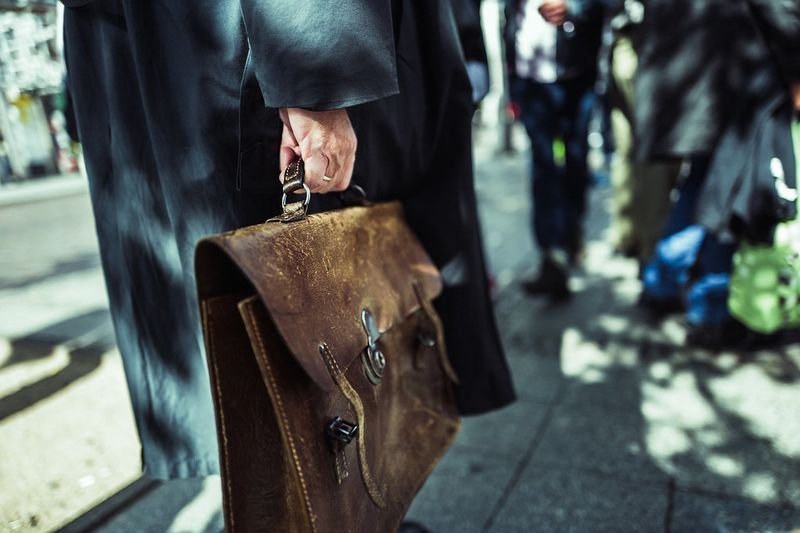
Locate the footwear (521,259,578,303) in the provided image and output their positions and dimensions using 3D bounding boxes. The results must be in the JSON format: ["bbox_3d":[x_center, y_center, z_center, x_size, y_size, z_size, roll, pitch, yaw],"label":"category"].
[{"bbox_3d":[0.899,0.073,4.343,0.275,0.039,0.616,-4,23,13],"label":"footwear"}]

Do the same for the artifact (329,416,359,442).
[{"bbox_3d":[-0.186,0.535,2.290,0.094,0.071,0.064,-1,22,19],"label":"artifact"}]

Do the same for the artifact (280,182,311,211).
[{"bbox_3d":[-0.348,-0.249,2.387,0.082,0.137,0.104,8,9,34],"label":"artifact"}]
